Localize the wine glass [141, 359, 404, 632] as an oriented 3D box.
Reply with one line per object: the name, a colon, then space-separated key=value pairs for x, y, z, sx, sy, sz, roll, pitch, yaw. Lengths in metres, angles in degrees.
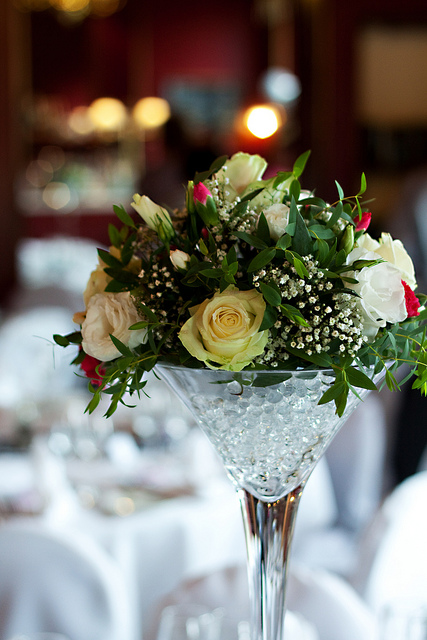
wine glass: x=0.049 y=0.143 z=0.541 sx=0.177 sy=0.283 sz=0.123 roll=-4 pitch=29 yaw=-4

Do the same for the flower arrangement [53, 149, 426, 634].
flower arrangement: x=0.029 y=0.063 z=0.574 sx=0.327 sy=0.413 sz=0.243 roll=8 pitch=30 yaw=17
